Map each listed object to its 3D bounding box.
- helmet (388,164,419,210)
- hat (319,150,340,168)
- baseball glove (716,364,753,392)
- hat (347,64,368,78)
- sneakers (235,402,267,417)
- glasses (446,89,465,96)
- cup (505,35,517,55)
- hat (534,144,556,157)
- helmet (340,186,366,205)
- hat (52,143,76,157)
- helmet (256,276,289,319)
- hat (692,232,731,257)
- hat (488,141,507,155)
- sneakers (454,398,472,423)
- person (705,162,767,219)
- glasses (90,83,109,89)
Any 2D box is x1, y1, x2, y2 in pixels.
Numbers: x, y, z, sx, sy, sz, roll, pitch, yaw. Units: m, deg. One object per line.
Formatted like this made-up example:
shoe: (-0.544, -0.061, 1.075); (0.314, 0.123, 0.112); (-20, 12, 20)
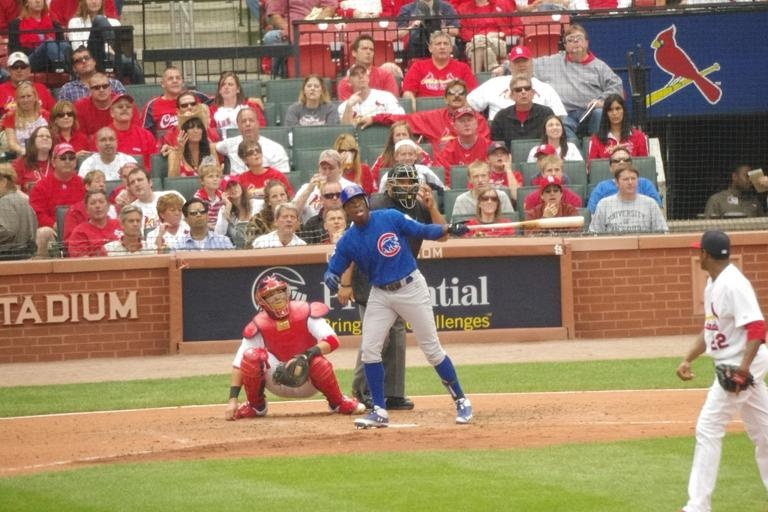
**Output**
helmet: (0.279, -0.996, 22.837); (0.487, 0.586, 0.588); (0, 2, -15)
hat: (-0.916, -1.645, 26.822); (0.346, 0.297, 0.358); (-2, 4, -2)
baseball glove: (4.468, 1.544, 20.377); (0.407, 0.298, 0.170); (21, 30, 30)
hat: (-0.485, -3.389, 29.090); (0.411, 0.186, 0.566); (-1, -9, -5)
sneakers: (-1.966, 2.247, 23.309); (0.500, 0.204, 0.174); (6, 2, -24)
glasses: (1.267, -2.933, 28.537); (0.297, 0.094, 0.047); (-2, 4, -1)
cup: (2.501, -4.149, 31.129); (0.278, 0.352, 0.352); (5, 37, 9)
hat: (2.813, -1.843, 27.832); (0.360, 0.248, 0.377); (-2, 4, 6)
helmet: (-0.443, -0.878, 22.583); (0.335, 0.279, 0.314); (-2, 4, -1)
hat: (-5.513, -1.825, 27.294); (0.332, 0.232, 0.316); (-3, 4, -12)
helmet: (-1.590, 0.585, 23.166); (0.459, 0.554, 0.570); (-18, 4, -13)
hat: (4.252, -0.158, 20.656); (0.289, 0.221, 0.403); (-12, 25, -25)
hat: (1.974, -1.871, 27.751); (0.366, 0.207, 0.303); (-2, 4, 3)
sneakers: (1.103, 2.199, 22.582); (0.153, 0.438, 0.203); (-5, -37, 18)
person: (6.291, -1.142, 28.505); (0.998, 0.862, 0.531); (5, -12, -15)
glasses: (-5.220, -3.096, 29.070); (0.346, 0.147, 0.169); (-2, 4, -6)
